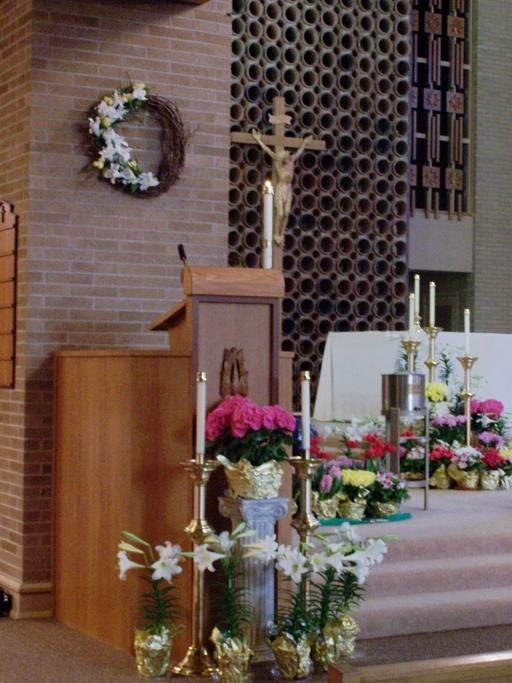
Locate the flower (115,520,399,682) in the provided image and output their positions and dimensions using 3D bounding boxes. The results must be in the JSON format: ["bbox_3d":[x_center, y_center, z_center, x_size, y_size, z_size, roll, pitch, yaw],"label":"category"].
[{"bbox_3d":[0.026,0.837,4.222,0.777,0.514,0.691,1,-1,-4],"label":"flower"}]

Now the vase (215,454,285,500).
[{"bbox_3d":[-0.008,0.439,4.062,0.182,0.095,0.152,-2,-3,20],"label":"vase"}]

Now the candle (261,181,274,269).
[{"bbox_3d":[0.045,-0.413,4.438,0.047,0.287,0.044,-1,-1,2],"label":"candle"}]

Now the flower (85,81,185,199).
[{"bbox_3d":[-0.515,-0.810,5.438,0.392,0.410,0.133,-12,-41,-16],"label":"flower"}]

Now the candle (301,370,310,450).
[{"bbox_3d":[0.158,0.232,3.964,0.027,0.277,0.065,1,-1,0],"label":"candle"}]

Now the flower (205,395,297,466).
[{"bbox_3d":[-0.032,0.293,4.129,0.312,0.227,0.210,1,-1,14],"label":"flower"}]
